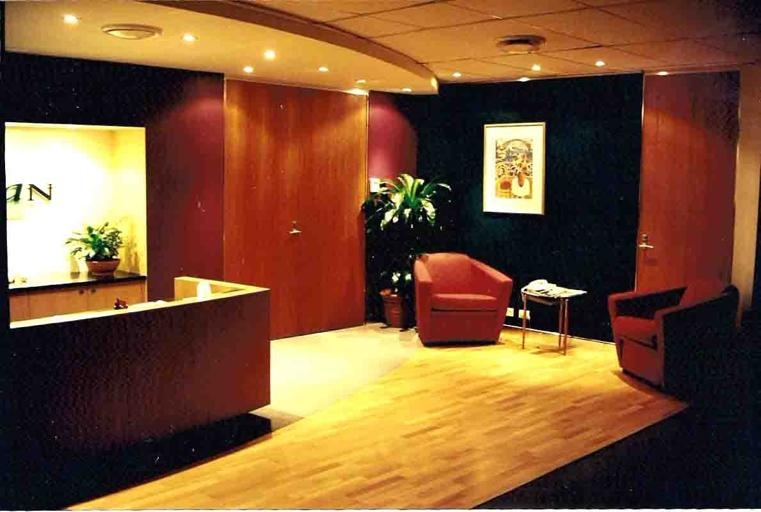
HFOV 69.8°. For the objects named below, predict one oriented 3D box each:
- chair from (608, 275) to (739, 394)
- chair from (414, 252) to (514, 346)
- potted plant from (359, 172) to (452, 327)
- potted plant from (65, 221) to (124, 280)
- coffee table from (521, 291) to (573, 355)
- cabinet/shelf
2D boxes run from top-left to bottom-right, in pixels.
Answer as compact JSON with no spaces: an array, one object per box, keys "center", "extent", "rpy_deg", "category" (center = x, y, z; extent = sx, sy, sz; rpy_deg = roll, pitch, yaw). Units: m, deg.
[{"center":[3.182,0.813,5.824],"extent":[1.087,0.989,0.910],"rpy_deg":[-6,7,-2],"category":"chair"},{"center":[0.926,0.569,7.050],"extent":[1.336,1.131,1.384],"rpy_deg":[-3,8,-35],"category":"chair"},{"center":[0.374,-0.246,7.399],"extent":[1.242,1.883,1.033],"rpy_deg":[1,-5,-3],"category":"potted plant"},{"center":[-3.103,-0.079,6.024],"extent":[0.510,0.515,0.662],"rpy_deg":[11,13,42],"category":"potted plant"},{"center":[2.084,0.822,6.798],"extent":[0.628,0.645,0.562],"rpy_deg":[5,-3,-19],"category":"coffee table"},{"center":[-3.071,0.477,5.728],"extent":[1.159,0.325,0.280],"rpy_deg":[-7,-16,-10],"category":"cabinet/shelf"}]
